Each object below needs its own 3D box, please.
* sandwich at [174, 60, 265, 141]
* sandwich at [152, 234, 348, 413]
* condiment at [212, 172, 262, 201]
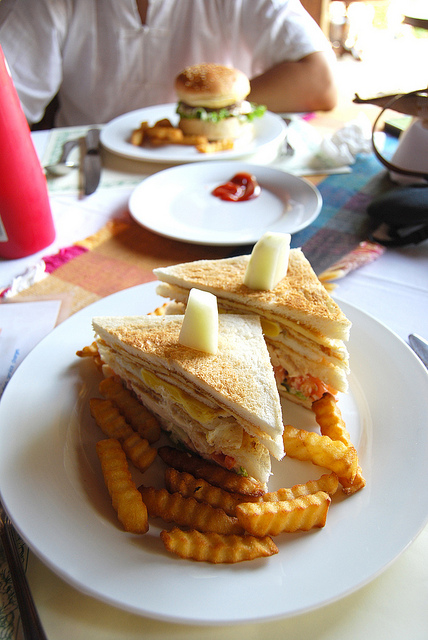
[{"bbox_3d":[-0.031,-1.026,2.556,0.411,0.246,0.400,-24,55,-18],"label":"sandwich"},{"bbox_3d":[0.092,0.024,1.471,0.501,0.165,0.453,11,49,2],"label":"sandwich"},{"bbox_3d":[0.096,-0.505,1.988,0.148,0.059,0.141,-10,43,2],"label":"condiment"}]
